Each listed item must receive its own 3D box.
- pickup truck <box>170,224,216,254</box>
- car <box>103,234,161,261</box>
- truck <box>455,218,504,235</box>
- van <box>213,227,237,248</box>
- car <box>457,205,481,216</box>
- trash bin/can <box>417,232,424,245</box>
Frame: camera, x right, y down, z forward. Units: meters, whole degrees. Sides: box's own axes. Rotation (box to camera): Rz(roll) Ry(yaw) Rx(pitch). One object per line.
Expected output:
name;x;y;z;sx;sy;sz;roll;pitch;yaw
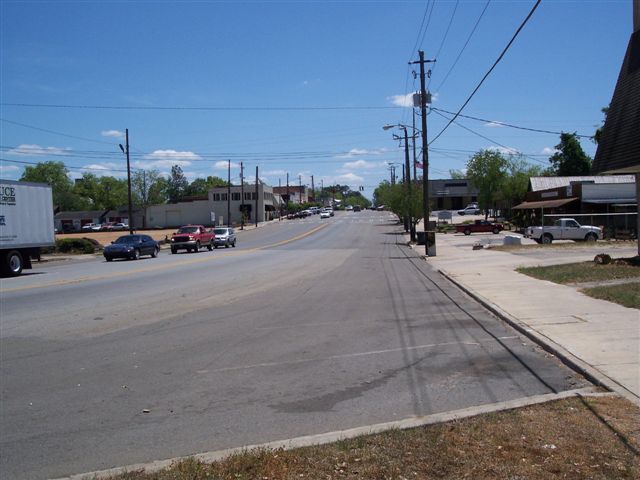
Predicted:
pickup truck;-9.777;-0.068;42.570;1.659;1.461;3.648;-1;-3;9
car;-12.044;0.498;35.322;1.660;1.627;4.273;-1;5;20
truck;16.218;-1.347;56.541;4.285;1.251;3.198;-3;5;0
van;-8.497;-0.244;48.529;1.981;1.754;2.180;-4;5;-16
car;28.728;-5.684;106.618;3.592;1.459;7.749;-1;5;16
trash bin/can;7.809;-0.135;43.567;0.507;0.989;1.060;-3;5;0
